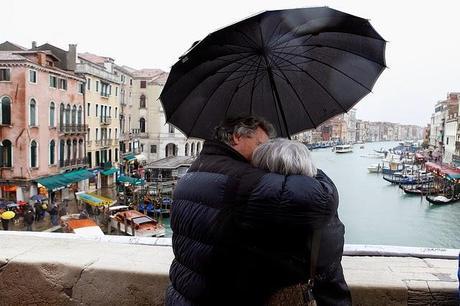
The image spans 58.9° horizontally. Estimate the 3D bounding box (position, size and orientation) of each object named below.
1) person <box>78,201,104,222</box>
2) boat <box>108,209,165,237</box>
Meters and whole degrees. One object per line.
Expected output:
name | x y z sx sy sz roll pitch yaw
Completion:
person | -7.635 3.342 23.000 2.240 1.140 0.755 -3 -2 34
boat | -4.825 3.585 21.080 1.868 1.439 3.643 -1 5 -31
